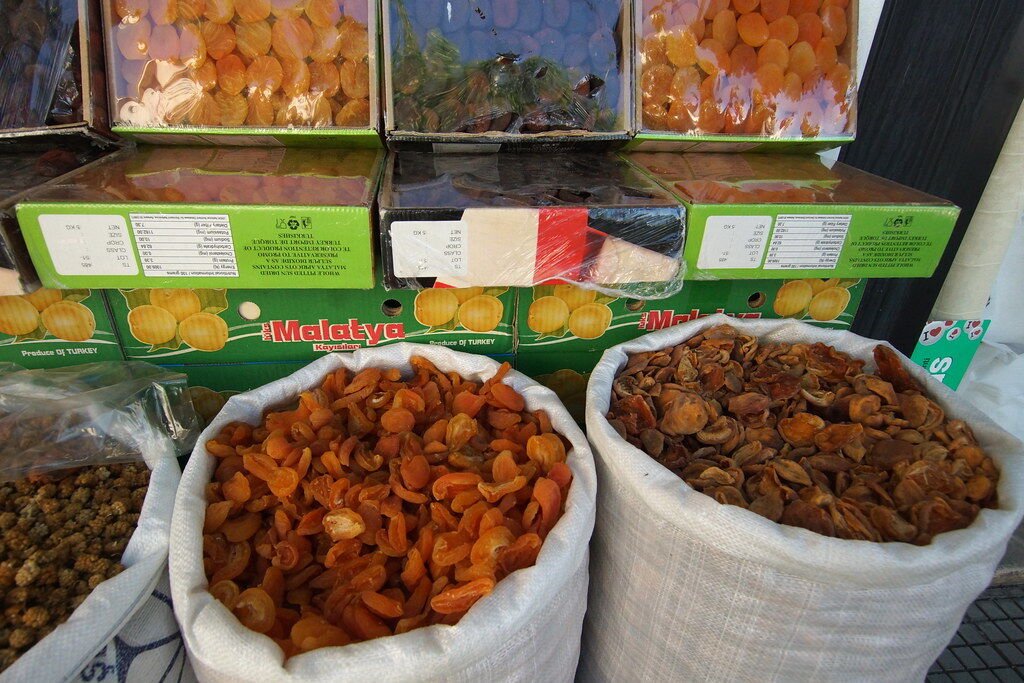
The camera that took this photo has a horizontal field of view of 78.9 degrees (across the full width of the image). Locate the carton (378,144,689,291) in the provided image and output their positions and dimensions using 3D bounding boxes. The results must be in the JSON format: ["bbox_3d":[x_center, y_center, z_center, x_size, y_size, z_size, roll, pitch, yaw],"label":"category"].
[{"bbox_3d":[0.032,-0.288,1.528,0.502,0.132,0.458,0,25,-4],"label":"carton"}]

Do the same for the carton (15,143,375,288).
[{"bbox_3d":[-0.742,-0.300,1.607,0.808,0.306,0.359,0,29,-4],"label":"carton"}]

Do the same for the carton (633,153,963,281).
[{"bbox_3d":[0.760,-0.329,1.641,0.494,0.118,0.517,-1,25,-4],"label":"carton"}]

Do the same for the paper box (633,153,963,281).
[{"bbox_3d":[0.771,-0.297,1.657,0.494,0.118,0.517,-1,25,-4],"label":"paper box"}]

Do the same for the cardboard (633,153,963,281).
[{"bbox_3d":[0.769,-0.325,1.643,0.494,0.118,0.517,-1,25,-4],"label":"cardboard"}]
